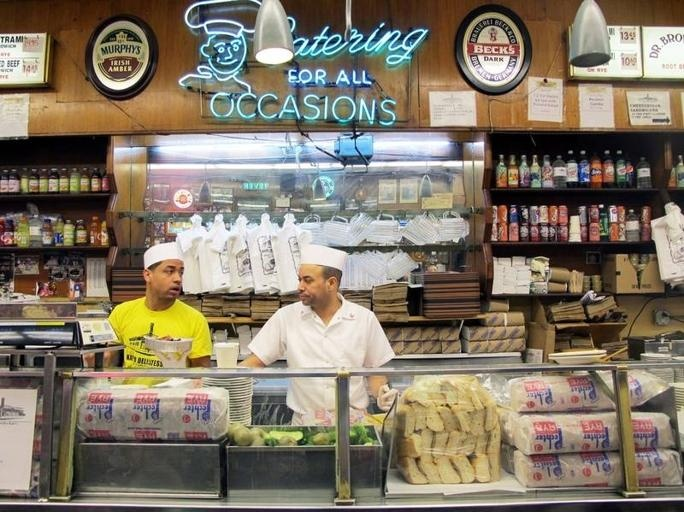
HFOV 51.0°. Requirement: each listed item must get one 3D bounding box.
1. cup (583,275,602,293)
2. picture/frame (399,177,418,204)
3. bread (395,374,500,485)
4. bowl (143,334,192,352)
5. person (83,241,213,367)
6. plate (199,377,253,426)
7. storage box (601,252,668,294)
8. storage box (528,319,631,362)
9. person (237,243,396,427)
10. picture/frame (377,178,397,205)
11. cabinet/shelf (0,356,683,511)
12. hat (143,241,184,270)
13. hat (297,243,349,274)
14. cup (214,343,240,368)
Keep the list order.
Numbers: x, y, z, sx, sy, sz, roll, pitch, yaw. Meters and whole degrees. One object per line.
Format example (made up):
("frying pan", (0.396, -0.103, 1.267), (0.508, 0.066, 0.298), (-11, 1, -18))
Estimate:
("cup", (2.309, 0.262, 6.607), (0.150, 0.115, 0.162), (1, 0, 0))
("picture/frame", (0.619, -0.586, 6.588), (0.183, 0.204, 0.065), (-2, -1, 5))
("bread", (0.563, 0.933, 3.947), (0.509, 0.513, 0.502), (0, -6, -2))
("bowl", (-1.006, 0.513, 4.154), (0.245, 0.062, 0.160), (-2, 0, 26))
("person", (-1.217, 0.480, 4.657), (0.729, 1.111, 0.558), (5, -7, -16))
("plate", (-0.628, 0.743, 3.855), (0.243, 0.257, 0.253), (-1, 3, -20))
("storage box", (2.722, 0.180, 6.671), (0.596, 0.299, 0.612), (-4, -7, 39))
("storage box", (1.842, 0.663, 5.655), (0.490, 0.493, 0.309), (-1, -3, 1))
("person", (-0.210, 0.632, 4.548), (1.031, 1.273, 0.698), (-1, 7, -12))
("picture/frame", (0.421, -0.578, 6.585), (0.238, 0.315, 0.023), (0, -10, 2))
("cabinet/shelf", (0.318, 1.128, 4.476), (3.857, 0.687, 0.807), (2, -10, 2))
("hat", (-1.198, -0.001, 4.762), (0.196, 0.126, 0.199), (-17, -13, 33))
("hat", (-0.109, 0.008, 4.587), (0.220, 0.095, 0.181), (12, -3, -37))
("cup", (-0.654, 0.567, 4.072), (0.136, 0.110, 0.130), (2, 0, 0))
